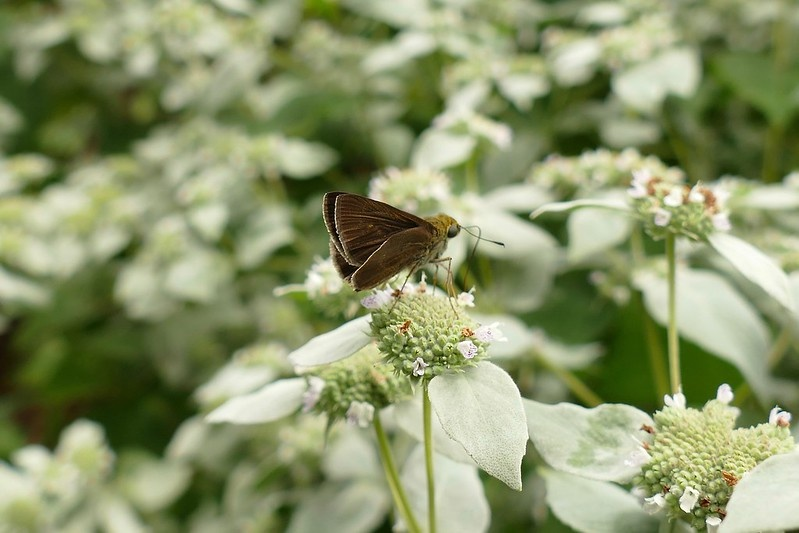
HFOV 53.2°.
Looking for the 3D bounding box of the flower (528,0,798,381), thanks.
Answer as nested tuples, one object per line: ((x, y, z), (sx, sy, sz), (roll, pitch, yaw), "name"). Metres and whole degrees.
((0.765, -0.007, 2.288), (0.585, 0.550, 0.402), (-17, 32, 9), "flower")

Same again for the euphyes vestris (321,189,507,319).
((0.036, -0.057, 2.246), (0.442, 0.323, 0.240), (-4, 4, -18), "euphyes vestris")

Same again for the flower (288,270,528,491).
((0.128, 0.306, 2.186), (0.564, 0.236, 0.576), (22, 18, -2), "flower")
